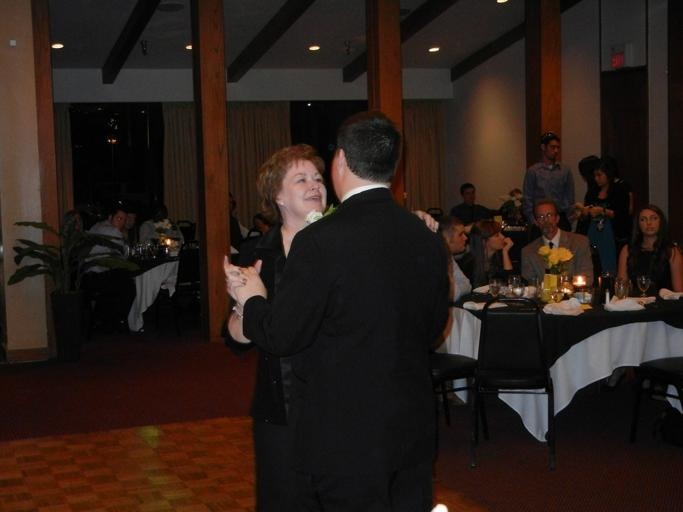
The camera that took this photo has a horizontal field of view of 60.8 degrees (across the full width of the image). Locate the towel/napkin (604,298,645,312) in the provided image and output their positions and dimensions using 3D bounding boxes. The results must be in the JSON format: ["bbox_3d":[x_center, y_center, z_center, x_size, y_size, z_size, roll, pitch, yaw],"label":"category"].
[{"bbox_3d":[1.763,0.306,3.672,0.120,0.050,0.128,-2,2,-1],"label":"towel/napkin"}]

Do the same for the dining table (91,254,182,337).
[{"bbox_3d":[-2.379,0.455,6.947,0.731,1.077,0.883,0,-4,2],"label":"dining table"}]

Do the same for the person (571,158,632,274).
[{"bbox_3d":[2.774,-0.255,6.183,0.552,1.619,0.605,5,-4,-33],"label":"person"}]

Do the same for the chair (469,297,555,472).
[{"bbox_3d":[1.030,0.730,3.475,0.455,0.940,0.535,1,6,19],"label":"chair"}]

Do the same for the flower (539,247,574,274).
[{"bbox_3d":[1.531,0.029,4.174,0.201,0.220,0.363,1,7,21],"label":"flower"}]

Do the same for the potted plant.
[{"bbox_3d":[-2.658,0.226,5.906,1.170,1.349,1.167,-1,-8,-5],"label":"potted plant"}]

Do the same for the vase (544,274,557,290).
[{"bbox_3d":[1.444,0.175,4.015,0.084,0.110,0.090,0,-4,-7],"label":"vase"}]
